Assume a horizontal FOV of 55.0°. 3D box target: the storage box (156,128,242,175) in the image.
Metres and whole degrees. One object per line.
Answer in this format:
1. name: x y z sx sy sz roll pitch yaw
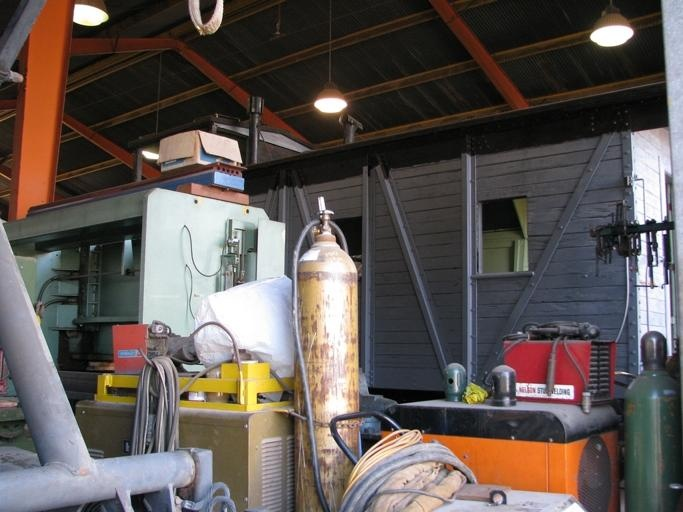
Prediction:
1. storage box: -1.643 -1.184 7.556 0.585 0.321 0.633 -6 -7 29

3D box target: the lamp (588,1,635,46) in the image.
1. lamp: 3.886 -3.364 9.487 0.530 0.530 0.476 -4 -10 27

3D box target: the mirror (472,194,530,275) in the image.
1. mirror: 2.461 -0.302 9.961 0.826 1.038 0.603 -6 -10 33
